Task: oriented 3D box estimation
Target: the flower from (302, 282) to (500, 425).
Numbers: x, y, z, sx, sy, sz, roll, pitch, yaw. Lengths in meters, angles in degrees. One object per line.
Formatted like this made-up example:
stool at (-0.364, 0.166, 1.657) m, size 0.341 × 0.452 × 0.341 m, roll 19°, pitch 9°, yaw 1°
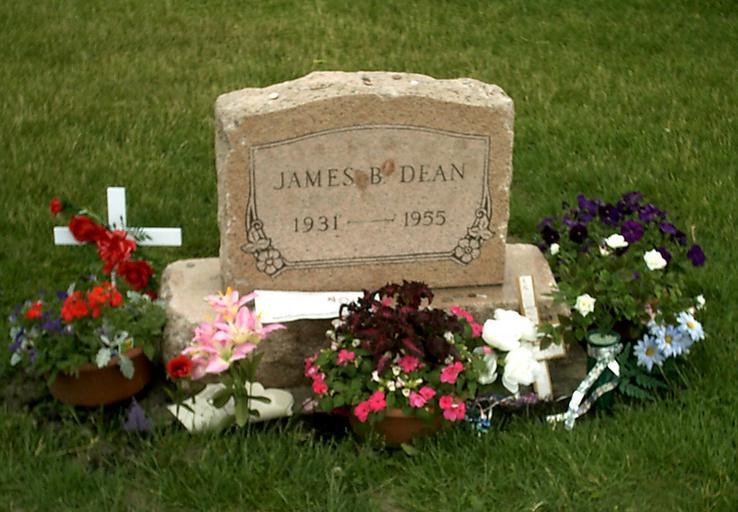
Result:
flower at (0.215, 0.705, 6.504) m, size 1.328 × 0.600 × 0.849 m, roll -1°, pitch 49°, yaw -1°

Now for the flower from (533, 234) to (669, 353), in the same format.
flower at (1.720, 0.307, 6.927) m, size 0.787 × 0.495 × 0.870 m, roll -9°, pitch 67°, yaw 12°

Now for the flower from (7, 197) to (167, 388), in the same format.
flower at (-2.135, 0.419, 6.919) m, size 1.038 × 0.590 × 1.401 m, roll 6°, pitch 76°, yaw -32°

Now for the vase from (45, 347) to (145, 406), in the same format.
vase at (-1.880, 0.774, 6.635) m, size 0.446 × 0.206 × 0.468 m, roll -1°, pitch 8°, yaw -4°
